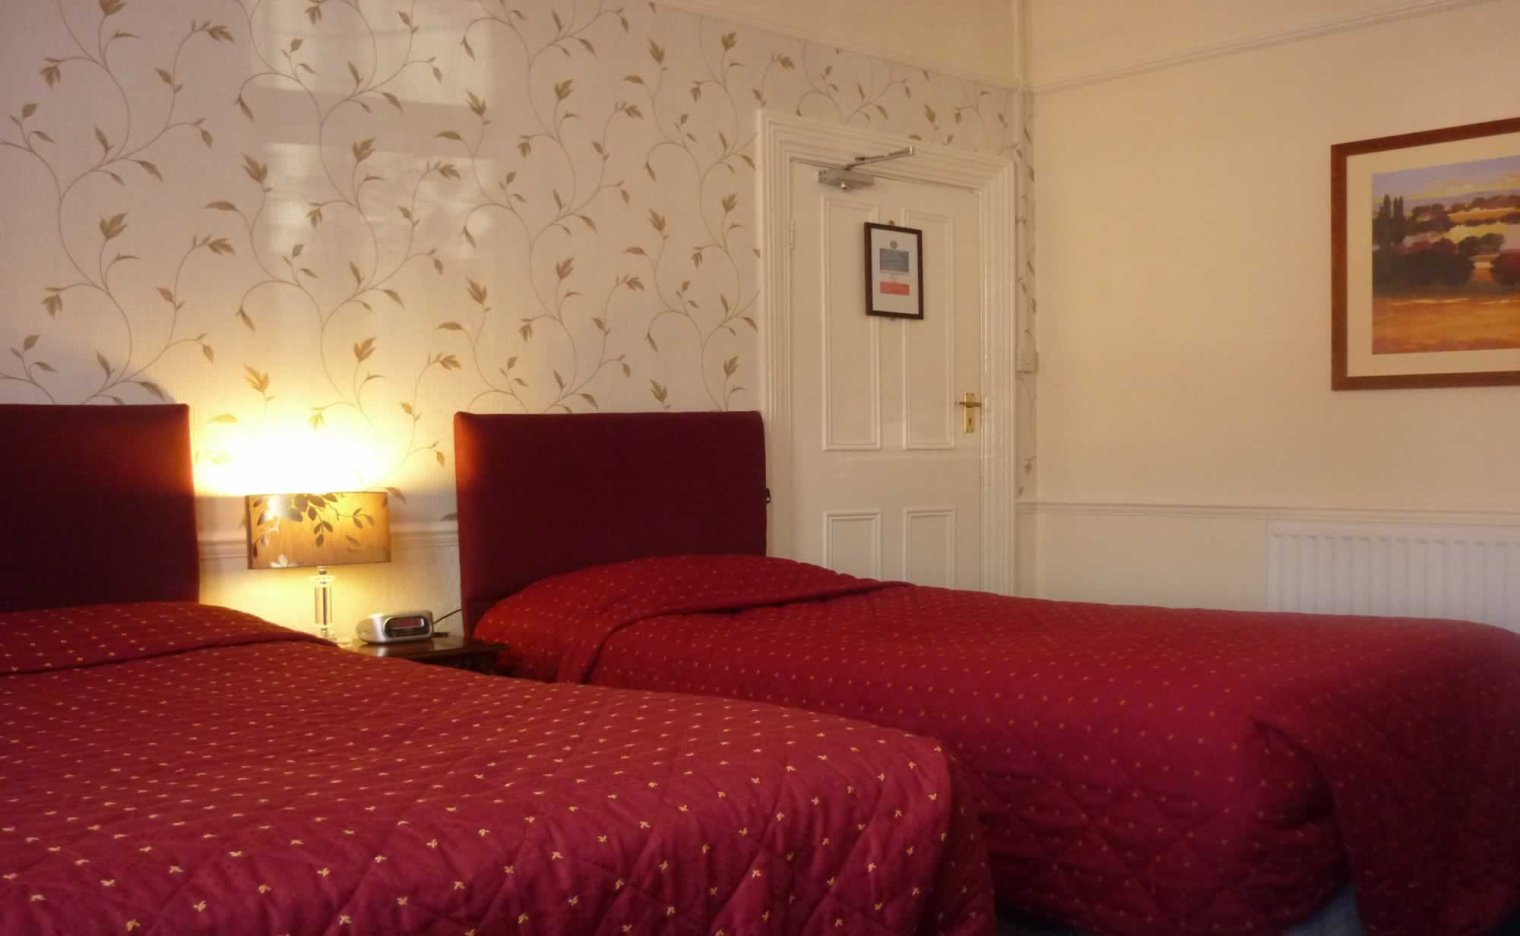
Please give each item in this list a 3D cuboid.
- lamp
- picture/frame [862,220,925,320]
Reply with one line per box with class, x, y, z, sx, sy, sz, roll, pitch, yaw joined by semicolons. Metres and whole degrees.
lamp;-1.694;0.353;3.680;0.583;0.690;0.176;0;0;-41
picture/frame;0.702;-1.060;5.305;0.545;0.605;0.083;4;-8;-41
